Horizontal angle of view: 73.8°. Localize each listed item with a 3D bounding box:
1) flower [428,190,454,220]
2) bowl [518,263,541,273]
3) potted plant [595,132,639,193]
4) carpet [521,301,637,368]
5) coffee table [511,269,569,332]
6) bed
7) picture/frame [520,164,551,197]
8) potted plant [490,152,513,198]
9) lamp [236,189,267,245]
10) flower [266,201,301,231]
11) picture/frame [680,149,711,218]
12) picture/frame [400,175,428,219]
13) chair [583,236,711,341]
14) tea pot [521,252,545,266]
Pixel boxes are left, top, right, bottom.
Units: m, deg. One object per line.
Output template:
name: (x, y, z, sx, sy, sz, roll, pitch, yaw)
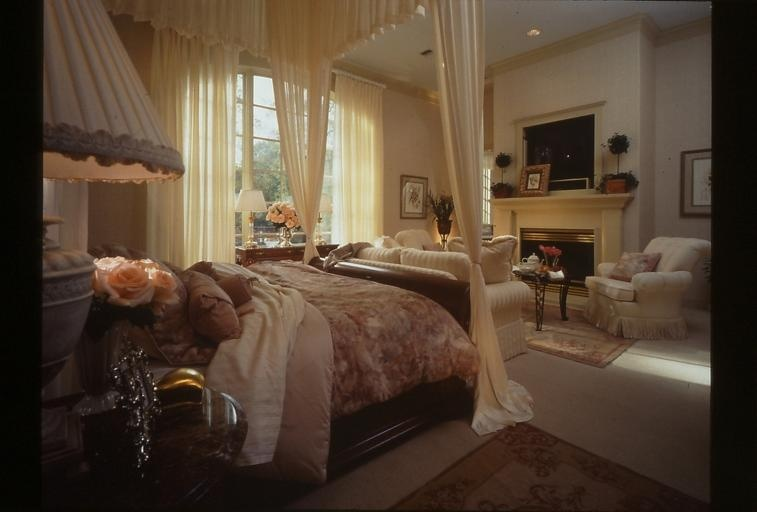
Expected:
flower: (1.061, -0.853, 8.450, 0.418, 0.445, 0.625, -3, 13, -7)
bowl: (1.634, 0.130, 5.463, 0.159, 0.069, 0.126, 3, -2, -17)
potted plant: (2.911, -1.144, 6.158, 0.361, 0.717, 0.454, -3, 12, -8)
carpet: (1.952, 0.805, 4.980, 0.965, 0.184, 1.772, 2, 13, 15)
coffee table: (1.788, 0.409, 5.650, 0.719, 0.724, 0.710, -4, 5, -36)
bed: (-0.296, 0.668, 3.077, 1.345, 0.720, 1.464, -6, 10, -38)
picture/frame: (2.173, -1.045, 6.950, 0.051, 0.521, 0.453, 4, 0, -39)
potted plant: (1.771, -1.193, 7.386, 0.280, 0.651, 0.415, -6, 13, -22)
lamp: (-1.480, -0.460, 5.839, 0.314, 0.657, 0.719, -5, 13, -16)
flower: (-1.163, -0.478, 6.061, 0.347, 0.324, 0.371, -4, 13, -12)
picture/frame: (3.807, -0.860, 5.946, 0.566, 0.824, 0.031, -4, 5, -11)
picture/frame: (0.547, -0.984, 8.245, 0.035, 0.701, 0.685, 7, 11, 43)
chair: (2.762, 0.261, 5.262, 0.917, 1.026, 1.147, 2, 4, -3)
tea pot: (1.920, 0.032, 6.240, 0.196, 0.142, 0.158, -1, 3, 23)
